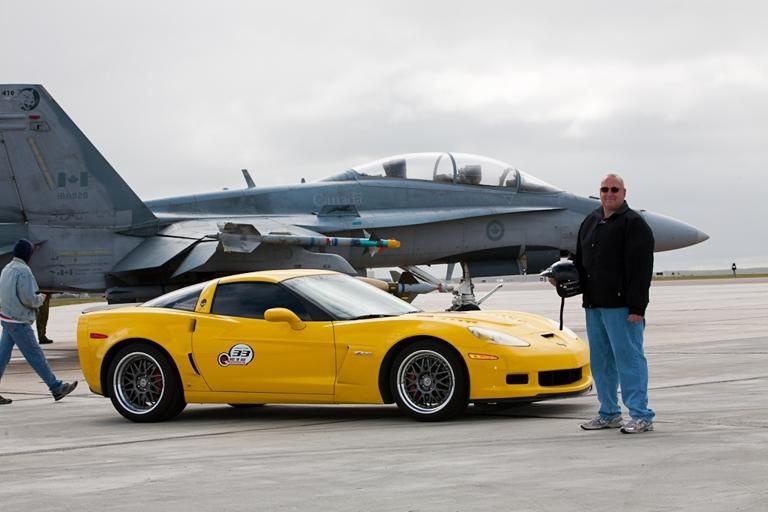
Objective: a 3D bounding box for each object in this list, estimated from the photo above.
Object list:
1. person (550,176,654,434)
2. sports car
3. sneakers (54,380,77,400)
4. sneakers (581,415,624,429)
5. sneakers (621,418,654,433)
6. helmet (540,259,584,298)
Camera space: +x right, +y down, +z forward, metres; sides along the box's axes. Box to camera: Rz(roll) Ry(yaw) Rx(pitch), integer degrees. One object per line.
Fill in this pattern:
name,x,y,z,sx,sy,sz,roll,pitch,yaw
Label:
person,2.331,0.464,7.859,1.045,2.321,0.846,-5,-2,12
sports car,-0.887,1.145,9.058,5.291,0.917,2.384,-2,-1,10
sneakers,-4.419,1.866,10.340,0.305,0.235,0.257,-2,-2,-33
sneakers,2.263,1.711,7.732,0.496,0.133,0.150,-2,-2,-17
sneakers,2.536,1.689,7.501,0.342,0.135,0.191,-2,-2,2
helmet,1.966,0.237,8.158,0.579,0.301,0.368,-12,12,-4
